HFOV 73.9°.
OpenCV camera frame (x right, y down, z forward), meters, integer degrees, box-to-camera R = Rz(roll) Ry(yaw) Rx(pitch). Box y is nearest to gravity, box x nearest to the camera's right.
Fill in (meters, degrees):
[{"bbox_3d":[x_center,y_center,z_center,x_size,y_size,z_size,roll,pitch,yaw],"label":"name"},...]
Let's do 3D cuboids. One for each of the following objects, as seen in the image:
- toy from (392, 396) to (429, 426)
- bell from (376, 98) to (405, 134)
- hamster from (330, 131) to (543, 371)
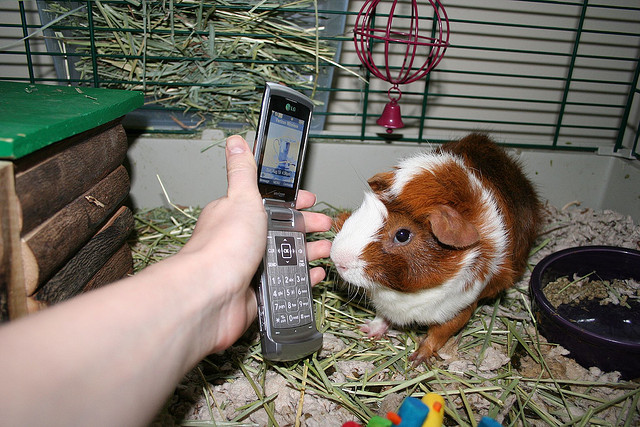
[{"bbox_3d":[0.223,0.487,1.033,0.078,0.088,0.042,10,22,10],"label":"toy"},{"bbox_3d":[0.343,-0.466,2.040,0.164,0.167,0.151,2,23,-9],"label":"bell"},{"bbox_3d":[0.390,0.083,1.710,0.942,0.635,0.615,-34,52,-15],"label":"hamster"}]
